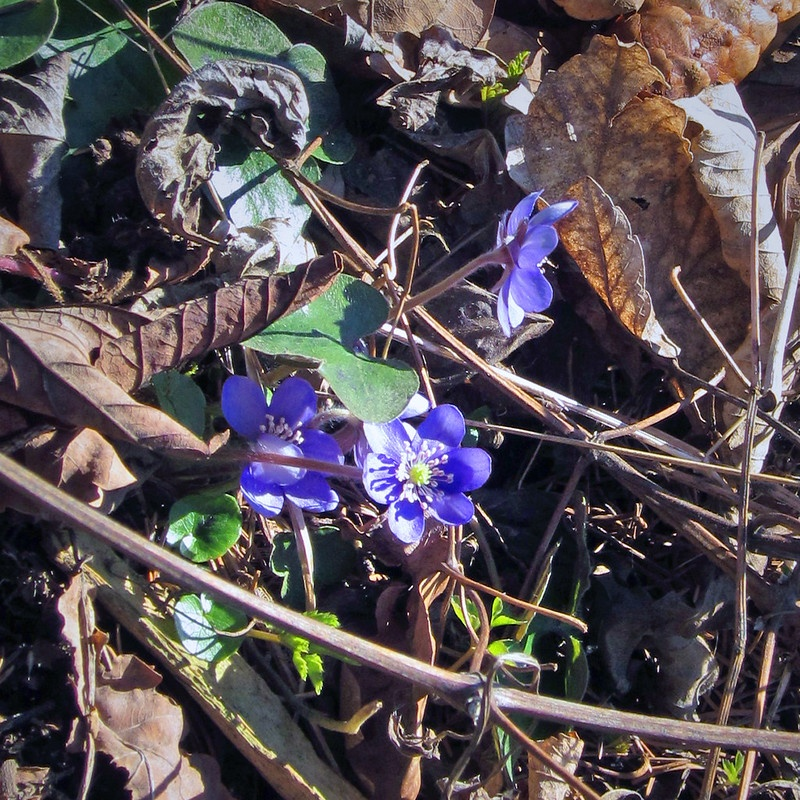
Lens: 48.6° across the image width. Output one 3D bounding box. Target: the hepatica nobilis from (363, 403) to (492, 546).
[{"bbox_3d":[0.022,0.092,1.368,0.205,0.080,0.219,-29,26,-18],"label":"hepatica nobilis"}]
